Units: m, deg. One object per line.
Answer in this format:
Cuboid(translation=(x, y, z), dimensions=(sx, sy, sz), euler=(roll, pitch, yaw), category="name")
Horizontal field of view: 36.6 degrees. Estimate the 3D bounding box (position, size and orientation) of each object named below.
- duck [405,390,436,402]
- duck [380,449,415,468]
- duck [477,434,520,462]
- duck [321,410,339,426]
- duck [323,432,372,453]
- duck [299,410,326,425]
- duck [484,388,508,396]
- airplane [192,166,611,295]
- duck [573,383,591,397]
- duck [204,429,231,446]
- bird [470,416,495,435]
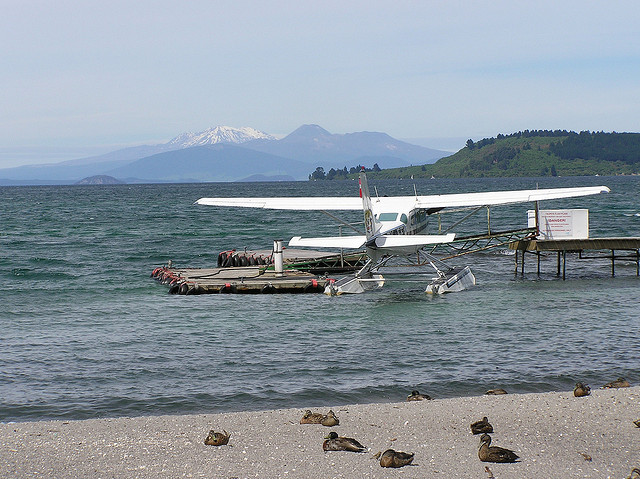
Cuboid(translation=(2.819, 4.360, 26.819), dimensions=(0.807, 0.169, 0.771), euler=(-1, 4, 6), category="duck")
Cuboid(translation=(1.867, 5.344, 23.414), dimensions=(0.776, 0.328, 0.352), euler=(3, -9, -6), category="duck")
Cuboid(translation=(4.405, 5.274, 23.849), dimensions=(0.911, 0.378, 0.426), euler=(3, -18, 2), category="duck")
Cuboid(translation=(0.284, 4.713, 25.319), dimensions=(0.430, 0.253, 0.424), euler=(-2, 4, 0), category="duck")
Cuboid(translation=(0.679, 5.112, 24.151), dimensions=(1.055, 0.279, 0.407), euler=(3, -16, 11), category="duck")
Cuboid(translation=(-0.203, 4.718, 25.376), dimensions=(0.654, 0.212, 0.336), euler=(-1, 5, 5), category="duck")
Cuboid(translation=(4.934, 4.276, 26.970), dimensions=(0.643, 0.143, 0.482), euler=(-1, 4, 4), category="duck")
Cuboid(translation=(4.277, -0.657, 44.628), dimensions=(13.060, 5.150, 18.483), euler=(1, 4, 28), category="airplane")
Cuboid(translation=(7.226, 4.148, 26.583), dimensions=(0.386, 0.241, 0.419), euler=(-5, 4, 0), category="duck")
Cuboid(translation=(-2.619, 5.042, 24.430), dimensions=(0.563, 0.308, 0.268), euler=(-1, 6, 11), category="duck")
Cuboid(translation=(4.165, 4.824, 24.832), dimensions=(0.552, 0.296, 0.469), euler=(-2, 5, -8), category="bird")
